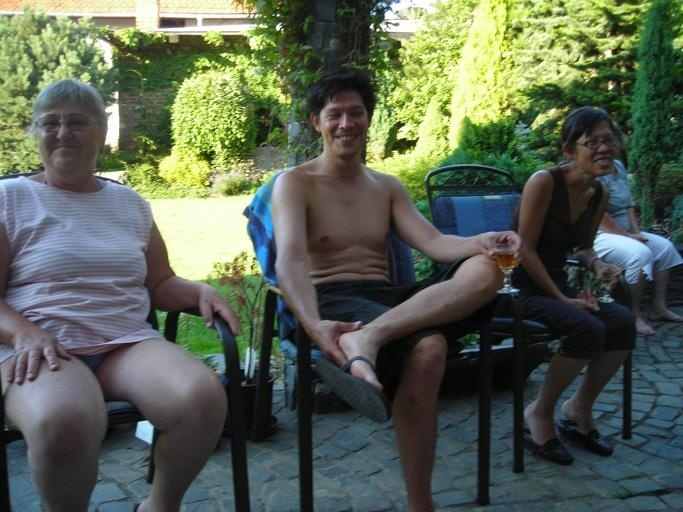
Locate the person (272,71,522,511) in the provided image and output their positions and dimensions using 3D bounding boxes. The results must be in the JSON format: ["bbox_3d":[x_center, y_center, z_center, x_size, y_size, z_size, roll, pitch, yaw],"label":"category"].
[{"bbox_3d":[0.181,0.118,2.597,0.930,1.892,1.209,-6,15,-21],"label":"person"}]

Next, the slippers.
[{"bbox_3d":[0.029,0.475,2.130,0.092,0.172,0.409,-9,16,-31],"label":"slippers"}]

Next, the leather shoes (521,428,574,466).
[{"bbox_3d":[1.030,0.961,3.030,0.113,0.093,0.294,-8,11,-28],"label":"leather shoes"}]

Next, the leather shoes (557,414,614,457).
[{"bbox_3d":[1.267,0.928,3.080,0.102,0.086,0.269,-12,12,-29],"label":"leather shoes"}]

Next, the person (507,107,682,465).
[{"bbox_3d":[1.189,0.121,3.039,0.601,1.737,0.836,3,15,15],"label":"person"}]
